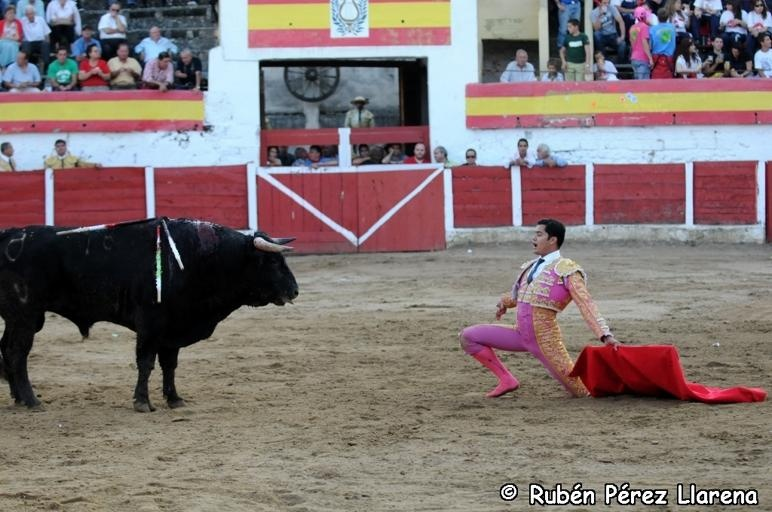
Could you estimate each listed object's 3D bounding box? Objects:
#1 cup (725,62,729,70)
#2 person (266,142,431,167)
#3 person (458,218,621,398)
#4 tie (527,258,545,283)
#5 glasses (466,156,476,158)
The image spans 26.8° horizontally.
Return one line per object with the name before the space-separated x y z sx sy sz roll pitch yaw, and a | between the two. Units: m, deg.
cup | 5.815 -3.206 27.488 0.087 0.132 0.116 -1 4 13
person | -0.649 -1.672 27.096 2.698 0.364 0.783 -2 4 1
person | 1.812 0.644 19.220 1.713 2.096 0.417 -2 5 6
tie | 1.789 0.155 19.252 0.079 0.291 0.221 38 -15 -19
glasses | 1.422 -1.631 26.930 0.139 0.051 0.077 -2 4 2
